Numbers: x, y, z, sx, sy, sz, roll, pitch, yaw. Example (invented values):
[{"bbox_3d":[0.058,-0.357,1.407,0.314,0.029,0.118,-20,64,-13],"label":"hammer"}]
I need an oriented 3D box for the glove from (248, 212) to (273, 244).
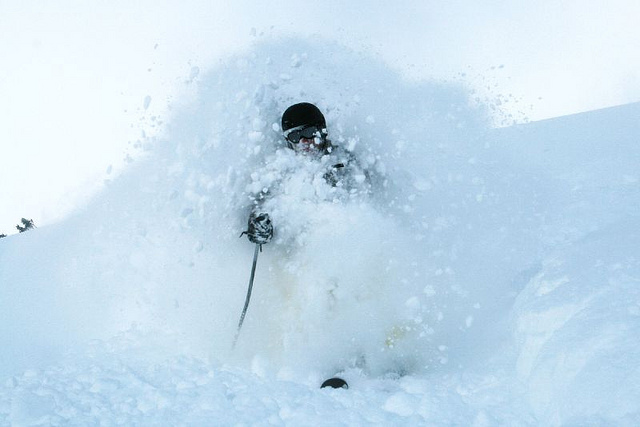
[{"bbox_3d":[-0.935,0.266,12.204,0.490,0.520,0.492,1,-5,-31],"label":"glove"}]
